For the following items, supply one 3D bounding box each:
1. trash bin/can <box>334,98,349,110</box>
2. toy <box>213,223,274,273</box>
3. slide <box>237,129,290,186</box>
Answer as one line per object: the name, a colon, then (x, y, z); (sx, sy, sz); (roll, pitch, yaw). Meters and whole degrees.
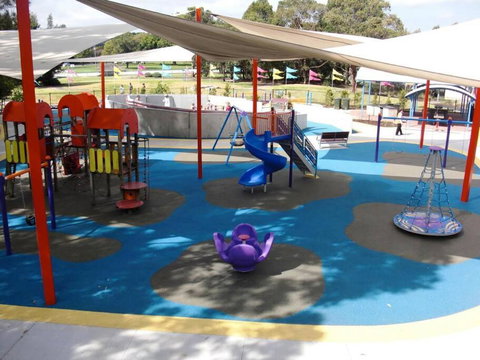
trash bin/can: (9.770, -7.297, 38.175); (1.209, 1.036, 1.297); (-8, 14, -26)
toy: (0.083, 1.585, 9.262); (1.341, 0.959, 0.756); (-2, 13, -3)
slide: (0.703, -0.793, 14.234); (1.360, 1.974, 1.188); (-13, 17, -40)
